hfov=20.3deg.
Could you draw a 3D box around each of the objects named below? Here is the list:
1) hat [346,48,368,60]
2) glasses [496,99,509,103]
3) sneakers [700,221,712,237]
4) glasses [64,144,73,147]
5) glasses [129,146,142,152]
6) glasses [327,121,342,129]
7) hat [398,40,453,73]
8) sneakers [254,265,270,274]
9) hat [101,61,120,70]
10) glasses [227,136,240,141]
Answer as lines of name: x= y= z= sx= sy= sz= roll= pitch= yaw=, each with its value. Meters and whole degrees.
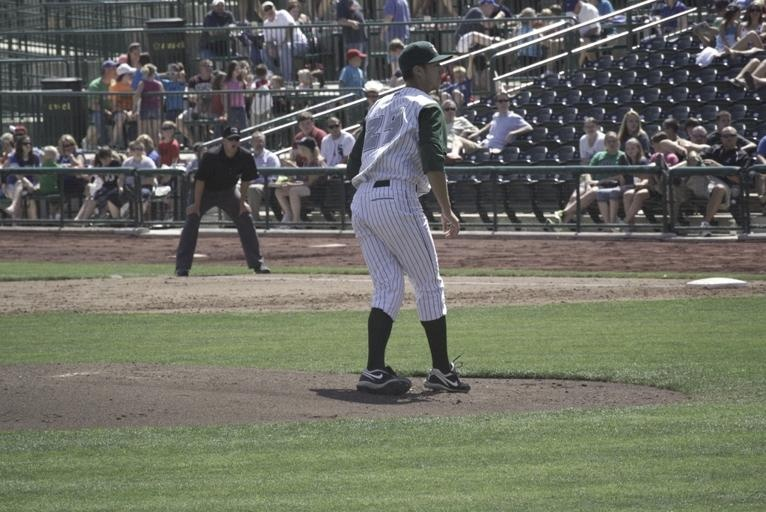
hat: x=-0.599 y=-4.377 z=46.271 sx=0.406 sy=0.160 sz=0.263 roll=-1 pitch=9 yaw=-3
glasses: x=2.436 y=-3.215 z=44.123 sx=0.235 sy=0.076 sz=0.132 roll=1 pitch=5 yaw=13
sneakers: x=6.115 y=-0.575 z=40.783 sx=0.210 sy=0.279 sz=0.110 roll=0 pitch=5 yaw=5
glasses: x=-6.591 y=-2.353 z=44.809 sx=0.156 sy=0.077 sz=0.033 roll=-1 pitch=5 yaw=-8
glasses: x=-5.030 y=-2.196 z=43.516 sx=0.245 sy=0.107 sz=0.119 roll=0 pitch=5 yaw=12
glasses: x=-0.998 y=-2.689 z=43.011 sx=0.253 sy=0.192 sz=0.166 roll=-1 pitch=5 yaw=-11
hat: x=0.606 y=-3.075 z=33.106 sx=0.681 sy=0.343 sz=0.456 roll=-15 pitch=11 yaw=0
sneakers: x=-2.195 y=0.177 z=38.809 sx=0.265 sy=0.165 sz=0.130 roll=-3 pitch=11 yaw=-4
hat: x=-6.084 y=-4.284 z=47.717 sx=0.249 sy=0.116 sz=0.337 roll=3 pitch=14 yaw=16
glasses: x=-2.662 y=-2.138 z=38.264 sx=0.153 sy=0.143 sz=0.099 roll=9 pitch=4 yaw=41
